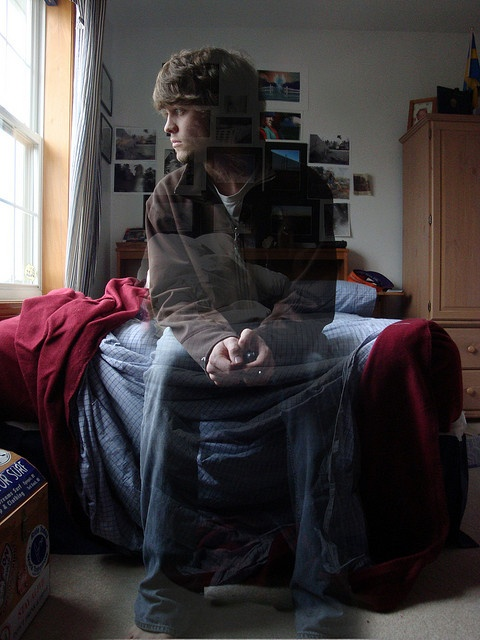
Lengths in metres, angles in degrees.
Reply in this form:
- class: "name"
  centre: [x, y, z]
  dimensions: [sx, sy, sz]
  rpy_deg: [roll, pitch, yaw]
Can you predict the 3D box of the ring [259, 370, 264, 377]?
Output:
- class: "ring"
  centre: [0.032, 0.080, 0.750]
  dimensions: [0.006, 0.007, 0.001]
  rpy_deg: [12, 6, -13]
